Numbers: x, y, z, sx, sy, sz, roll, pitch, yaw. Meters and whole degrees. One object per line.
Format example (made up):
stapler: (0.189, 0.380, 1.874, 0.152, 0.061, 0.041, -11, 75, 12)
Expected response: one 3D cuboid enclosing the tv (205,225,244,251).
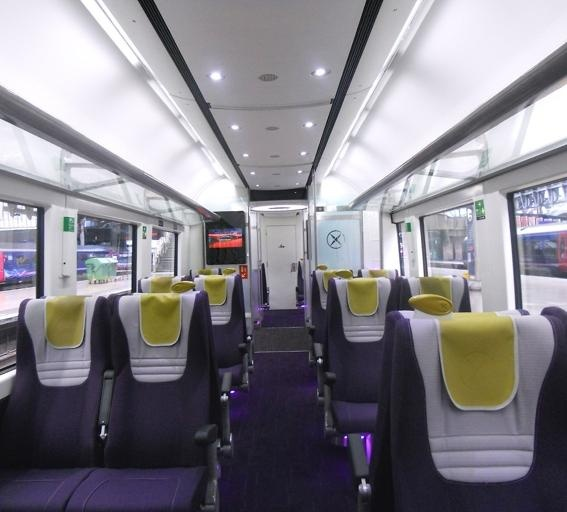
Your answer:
tv: (-1.323, -0.398, 9.284, 0.830, 0.451, 0.187, -1, 1, 11)
